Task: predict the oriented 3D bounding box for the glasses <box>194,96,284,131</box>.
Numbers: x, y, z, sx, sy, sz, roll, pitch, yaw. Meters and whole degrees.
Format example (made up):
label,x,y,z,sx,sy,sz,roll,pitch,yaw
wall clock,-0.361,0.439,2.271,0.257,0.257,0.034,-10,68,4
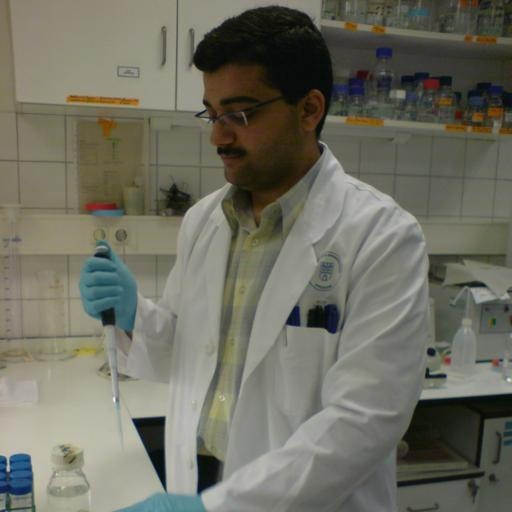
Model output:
label,x,y,z,sx,sy,sz,roll,pitch,yaw
glasses,-0.027,-0.315,1.329,0.164,0.067,0.048,4,9,18
